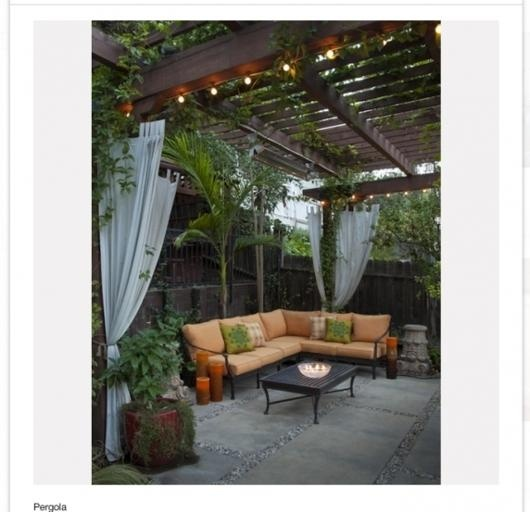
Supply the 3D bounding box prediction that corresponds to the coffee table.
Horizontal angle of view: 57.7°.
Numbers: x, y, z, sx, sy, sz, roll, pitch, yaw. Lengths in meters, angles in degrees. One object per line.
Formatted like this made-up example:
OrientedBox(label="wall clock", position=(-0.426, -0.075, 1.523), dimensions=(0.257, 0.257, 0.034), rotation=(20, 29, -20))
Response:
OrientedBox(label="coffee table", position=(0.455, 1.390, 5.132), dimensions=(0.703, 0.584, 1.045), rotation=(1, -1, 30))
